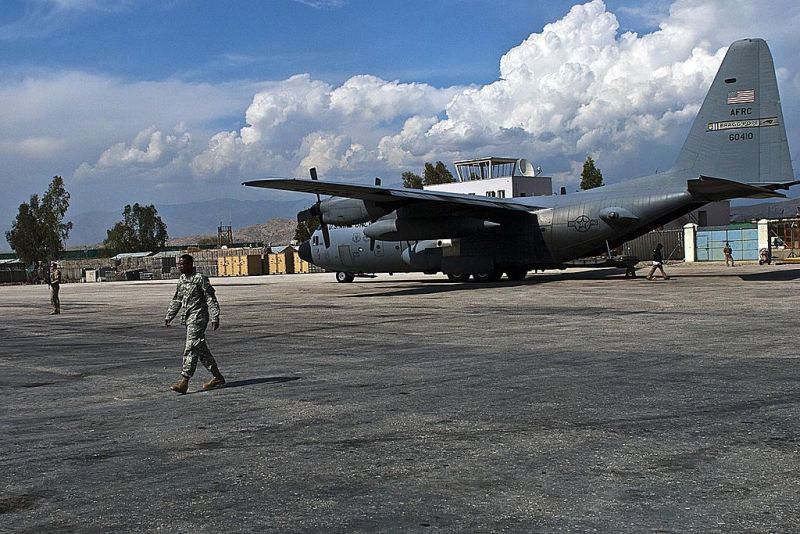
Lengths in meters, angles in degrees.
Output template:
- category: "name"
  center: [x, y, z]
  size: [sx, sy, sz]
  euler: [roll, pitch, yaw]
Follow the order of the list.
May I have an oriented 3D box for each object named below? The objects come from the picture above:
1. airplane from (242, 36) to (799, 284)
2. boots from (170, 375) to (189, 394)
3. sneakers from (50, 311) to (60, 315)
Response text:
- category: "airplane"
  center: [6.217, -3.860, 28.319]
  size: [18.641, 7.997, 6.279]
  euler: [-4, 1, 19]
- category: "boots"
  center: [-3.397, 1.812, 10.031]
  size: [0.263, 0.279, 0.258]
  euler: [-5, 1, -15]
- category: "sneakers"
  center: [-13.501, 1.792, 25.503]
  size: [0.334, 0.194, 0.115]
  euler: [5, 2, 9]
